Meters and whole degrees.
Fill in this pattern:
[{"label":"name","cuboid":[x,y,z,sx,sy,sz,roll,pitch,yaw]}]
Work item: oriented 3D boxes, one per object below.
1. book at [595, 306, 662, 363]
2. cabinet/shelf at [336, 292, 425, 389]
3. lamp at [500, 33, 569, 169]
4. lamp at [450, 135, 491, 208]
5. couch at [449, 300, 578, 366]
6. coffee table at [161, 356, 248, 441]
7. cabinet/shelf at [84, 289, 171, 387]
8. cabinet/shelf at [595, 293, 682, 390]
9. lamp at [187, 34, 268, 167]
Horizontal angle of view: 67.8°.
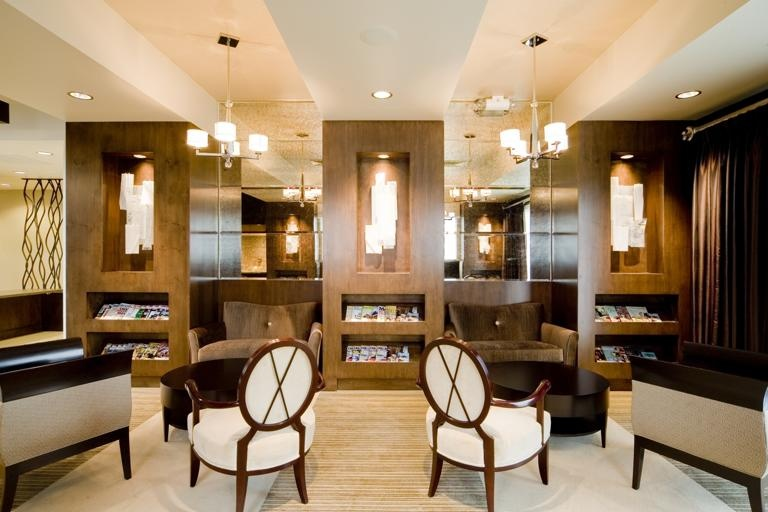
[{"label":"book","cuboid":[3.349,1.069,7.813,0.777,0.693,0.249,0,-8,-1]},{"label":"cabinet/shelf","cuboid":[-0.052,1.207,7.795,1.333,1.192,0.435,0,-9,0]},{"label":"lamp","cuboid":[1.881,-1.902,7.133,0.877,1.548,0.803,-1,13,10]},{"label":"lamp","cuboid":[1.248,-1.267,8.342,0.586,1.070,0.156,-1,2,7]},{"label":"couch","cuboid":[1.608,1.127,7.754,1.686,0.853,0.858,0,2,-3]},{"label":"coffee table","cuboid":[-2.121,1.506,6.676,0.994,0.481,0.989,1,5,2]},{"label":"cabinet/shelf","cuboid":[-3.365,1.098,7.461,1.405,1.248,0.455,1,1,-1]},{"label":"cabinet/shelf","cuboid":[3.308,1.134,7.428,1.346,1.512,0.447,0,-7,1]},{"label":"lamp","cuboid":[-2.105,-1.895,7.577,1.061,1.607,1.549,-2,1,-13]}]
